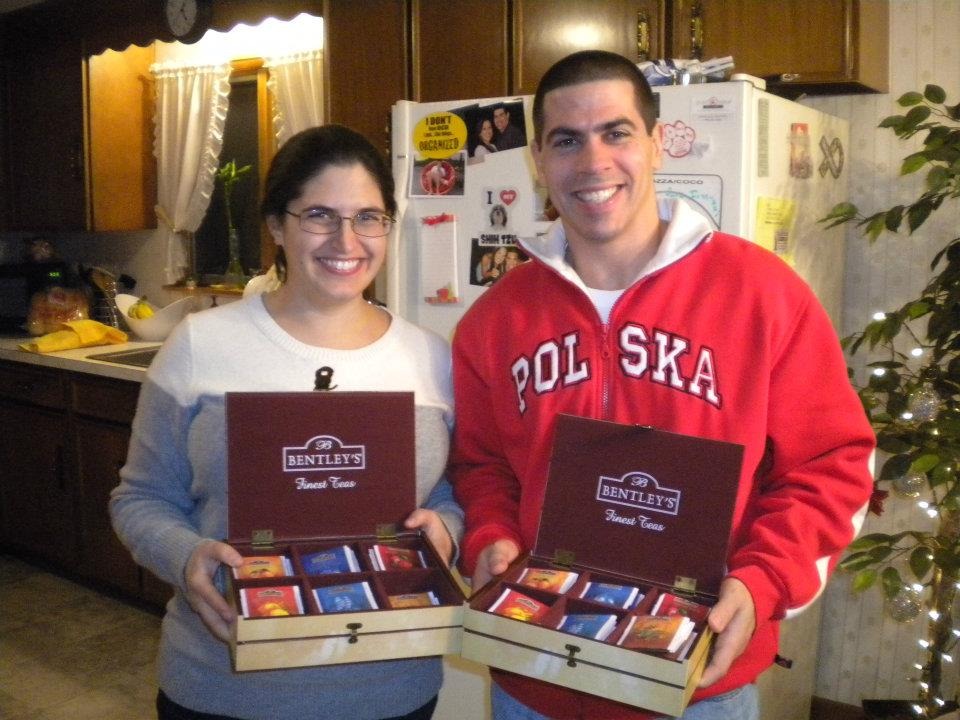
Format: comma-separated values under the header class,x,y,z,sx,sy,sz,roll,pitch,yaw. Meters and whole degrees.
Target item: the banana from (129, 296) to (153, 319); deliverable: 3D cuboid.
class,x,y,z,sx,sy,sz,roll,pitch,yaw
banana,-1.689,-0.261,3.987,0.089,0.086,0.146,2,13,-42
